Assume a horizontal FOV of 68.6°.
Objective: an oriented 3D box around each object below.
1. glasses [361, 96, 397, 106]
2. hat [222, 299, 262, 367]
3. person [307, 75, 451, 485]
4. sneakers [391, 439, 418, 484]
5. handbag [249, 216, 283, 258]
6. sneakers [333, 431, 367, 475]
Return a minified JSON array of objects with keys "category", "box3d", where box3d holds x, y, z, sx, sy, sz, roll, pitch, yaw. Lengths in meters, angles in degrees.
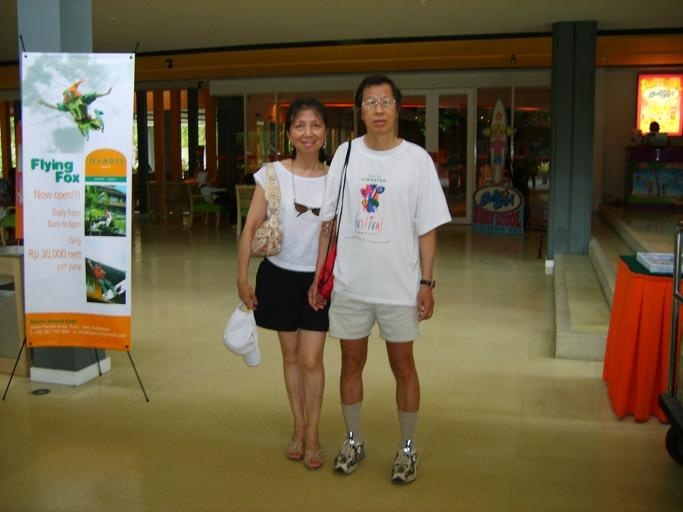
[{"category":"glasses","box3d":[0.170,-0.704,2.280,0.146,0.048,0.048,-1,8,-4]},{"category":"hat","box3d":[-0.532,0.411,2.762,0.208,0.422,0.151,-19,-27,29]},{"category":"person","box3d":[0.170,0.116,2.400,0.661,1.911,0.220,1,7,12]},{"category":"sneakers","box3d":[0.323,0.989,2.444,0.087,0.119,0.256,-8,14,29]},{"category":"handbag","box3d":[-0.386,-0.103,2.542,0.158,0.240,0.092,5,-4,-19]},{"category":"sneakers","box3d":[0.046,0.957,2.518,0.077,0.179,0.241,-1,11,30]}]
